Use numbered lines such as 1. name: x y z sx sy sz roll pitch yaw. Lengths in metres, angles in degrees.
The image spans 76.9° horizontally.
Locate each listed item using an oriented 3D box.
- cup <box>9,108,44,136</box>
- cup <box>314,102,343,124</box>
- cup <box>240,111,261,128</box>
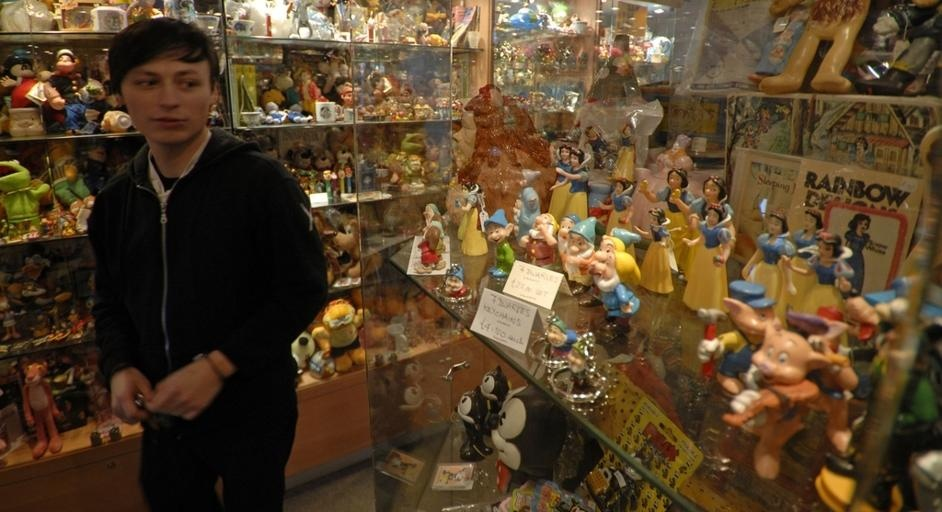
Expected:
1. cup: -2.381 -0.741 3.261 0.178 0.147 0.163 1 11 0
2. cup: -0.918 -0.916 3.771 0.155 0.131 0.086 -9 17 -37
3. cup: -1.339 -0.839 3.598 0.113 0.069 0.100 -3 6 -22
